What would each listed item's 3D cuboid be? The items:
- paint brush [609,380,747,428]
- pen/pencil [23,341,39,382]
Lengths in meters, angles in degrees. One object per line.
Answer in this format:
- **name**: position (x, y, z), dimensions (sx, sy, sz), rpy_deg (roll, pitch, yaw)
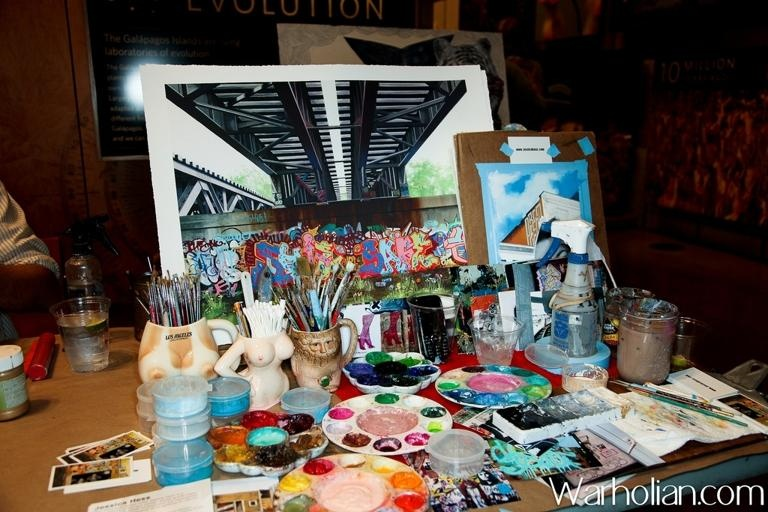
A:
- **paint brush**: position (0.759, 0.384, 1.395), dimensions (0.402, 0.028, 0.073), rpy_deg (12, 49, 9)
- **pen/pencil**: position (-1.059, 0.315, 1.540), dimensions (0.022, 0.011, 0.104), rpy_deg (-16, 30, -8)
